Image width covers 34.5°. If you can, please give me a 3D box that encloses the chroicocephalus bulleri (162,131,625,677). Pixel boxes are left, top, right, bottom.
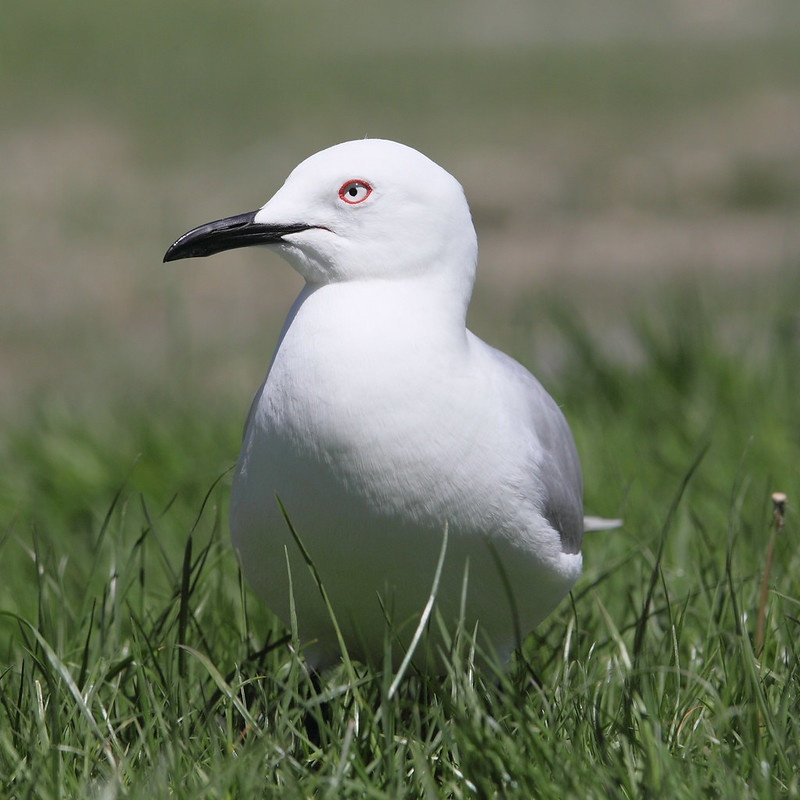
[{"bbox_3d":[-0.027,0.068,2.802,0.824,1.184,0.650,-2,16,8],"label":"chroicocephalus bulleri"}]
